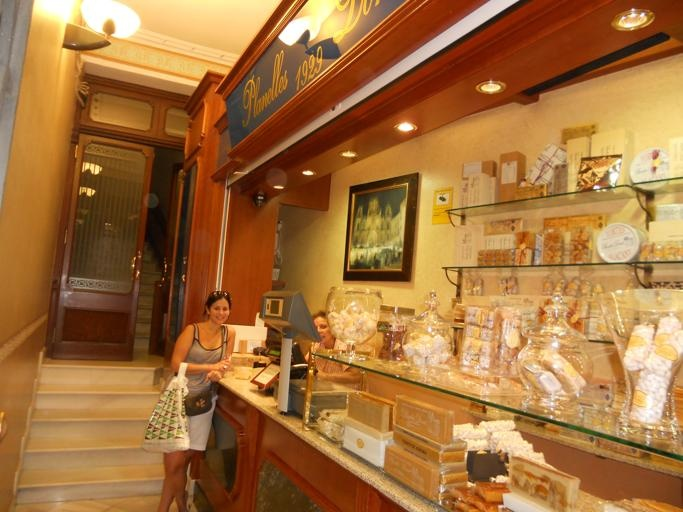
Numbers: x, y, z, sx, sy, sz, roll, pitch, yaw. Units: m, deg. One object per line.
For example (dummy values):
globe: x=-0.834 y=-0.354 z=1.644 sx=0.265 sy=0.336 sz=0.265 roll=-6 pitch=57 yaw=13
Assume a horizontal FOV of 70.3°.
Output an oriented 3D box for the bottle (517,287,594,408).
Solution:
bottle: x=0.705 y=0.312 z=1.636 sx=0.225 sy=0.354 sz=0.247 roll=2 pitch=-4 yaw=0

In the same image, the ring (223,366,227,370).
ring: x=-0.861 y=0.829 z=3.599 sx=0.026 sy=0.027 sz=0.006 roll=4 pitch=-10 yaw=-17

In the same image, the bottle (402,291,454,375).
bottle: x=0.371 y=0.316 z=2.065 sx=0.214 sy=0.306 sz=0.214 roll=4 pitch=-6 yaw=0

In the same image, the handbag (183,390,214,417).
handbag: x=-1.053 y=1.069 z=3.533 sx=0.066 sy=0.197 sz=0.277 roll=-14 pitch=-10 yaw=38

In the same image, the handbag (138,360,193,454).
handbag: x=-1.238 y=1.099 z=3.448 sx=0.291 sy=0.648 sz=0.194 roll=3 pitch=-4 yaw=-23

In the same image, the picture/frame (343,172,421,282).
picture/frame: x=0.408 y=-0.291 z=5.513 sx=0.054 sy=1.123 sz=1.115 roll=8 pitch=-6 yaw=-37

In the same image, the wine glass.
wine glass: x=0.063 y=0.349 z=2.467 sx=0.278 sy=0.402 sz=0.285 roll=-4 pitch=5 yaw=-30
